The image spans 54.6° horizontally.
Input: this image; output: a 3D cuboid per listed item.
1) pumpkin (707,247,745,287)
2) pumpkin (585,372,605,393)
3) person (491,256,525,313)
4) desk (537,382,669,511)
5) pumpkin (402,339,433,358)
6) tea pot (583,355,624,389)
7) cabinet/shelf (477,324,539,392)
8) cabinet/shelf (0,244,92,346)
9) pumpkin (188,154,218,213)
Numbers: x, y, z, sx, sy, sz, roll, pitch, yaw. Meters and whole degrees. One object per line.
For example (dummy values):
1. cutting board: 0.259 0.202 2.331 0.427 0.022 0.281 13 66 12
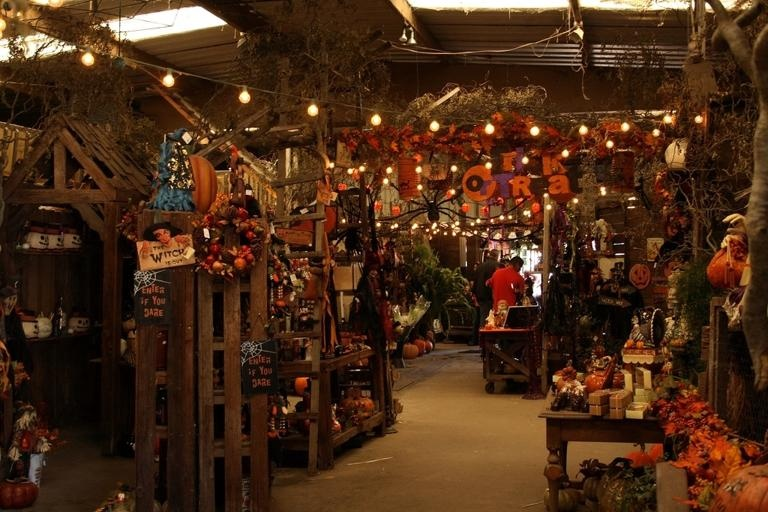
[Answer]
1. pumpkin: 2.400 0.070 5.229 0.234 0.333 0.245 -1 3 -10
2. pumpkin: 1.794 1.055 6.302 0.161 0.192 0.160 2 -4 -32
3. person: 1.987 0.393 12.037 0.547 0.896 1.040 -1 -5 7
4. desk: 1.693 1.511 5.881 0.971 0.729 0.945 -1 -5 8
5. pumpkin: 0.625 1.730 14.233 0.427 0.567 0.428 -2 -3 19
6. tea pot: 1.877 0.984 6.405 0.258 0.361 0.419 0 -6 7
7. cabinet/shelf: 1.899 1.466 10.958 0.737 0.634 1.026 -1 -6 10
8. cabinet/shelf: -3.810 0.429 8.309 0.374 1.039 1.139 -3 -6 23
9. pumpkin: -1.488 -0.598 6.103 0.231 0.497 0.219 1 -5 -15
